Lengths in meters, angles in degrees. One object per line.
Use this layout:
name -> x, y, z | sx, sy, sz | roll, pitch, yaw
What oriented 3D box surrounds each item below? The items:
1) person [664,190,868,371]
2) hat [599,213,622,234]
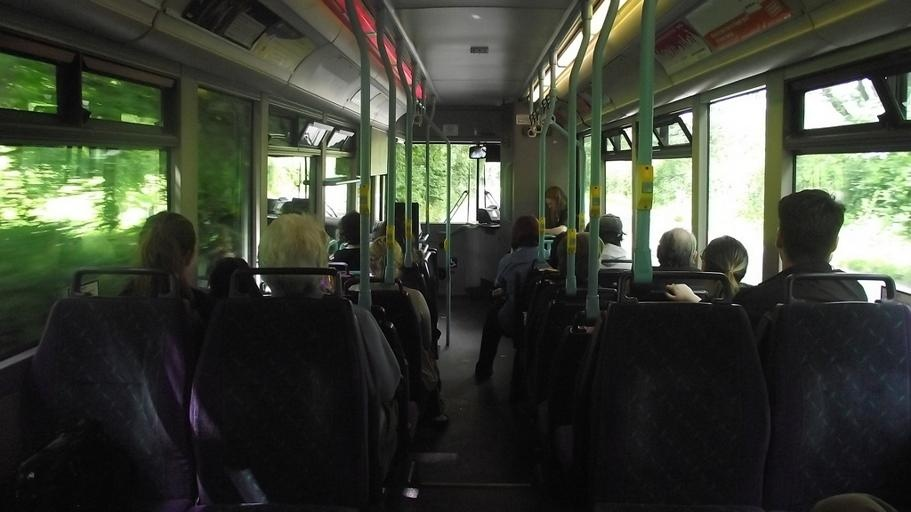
person -> 2.085, 0.160, 3.967 | 1.344, 0.583, 1.741 | 0, -34, 9
hat -> 1.658, -0.345, 6.437 | 0.178, 0.227, 0.213 | 6, -26, 36
